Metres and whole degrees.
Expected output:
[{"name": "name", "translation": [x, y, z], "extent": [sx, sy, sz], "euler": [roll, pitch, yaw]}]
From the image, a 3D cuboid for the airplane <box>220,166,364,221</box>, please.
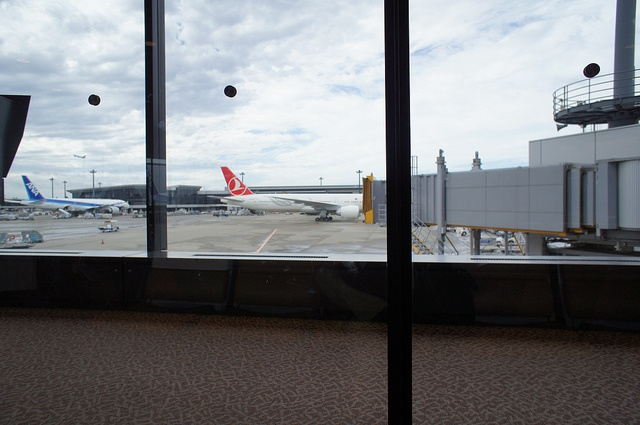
[{"name": "airplane", "translation": [-1.556, -1.080, 25.041], "extent": [9.005, 2.911, 3.101], "euler": [-1, 1, 28]}]
